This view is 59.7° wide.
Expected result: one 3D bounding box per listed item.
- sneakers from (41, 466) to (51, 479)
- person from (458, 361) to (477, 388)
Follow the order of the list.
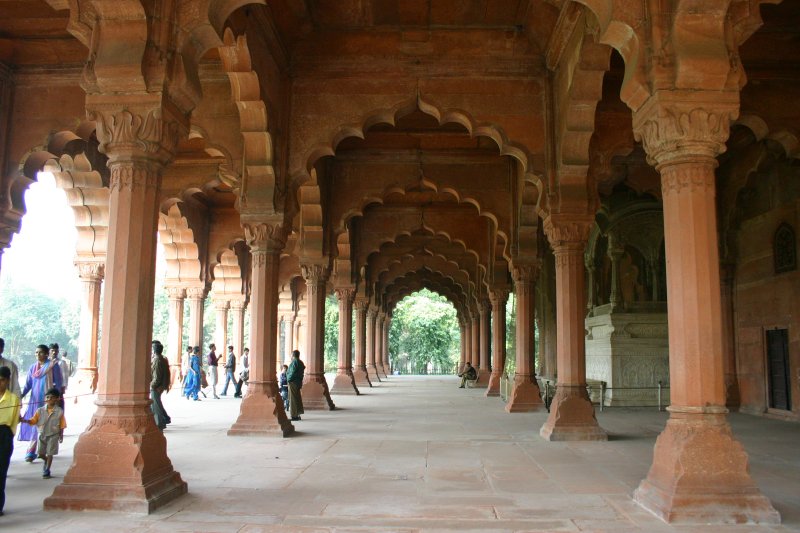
[{"bbox_3d":[-5.398,3.101,10.583,0.113,0.117,0.279,2,-2,-11],"label":"sneakers"},{"bbox_3d":[2.953,4.612,29.987,0.631,1.087,2.093,0,-10,4],"label":"person"}]
